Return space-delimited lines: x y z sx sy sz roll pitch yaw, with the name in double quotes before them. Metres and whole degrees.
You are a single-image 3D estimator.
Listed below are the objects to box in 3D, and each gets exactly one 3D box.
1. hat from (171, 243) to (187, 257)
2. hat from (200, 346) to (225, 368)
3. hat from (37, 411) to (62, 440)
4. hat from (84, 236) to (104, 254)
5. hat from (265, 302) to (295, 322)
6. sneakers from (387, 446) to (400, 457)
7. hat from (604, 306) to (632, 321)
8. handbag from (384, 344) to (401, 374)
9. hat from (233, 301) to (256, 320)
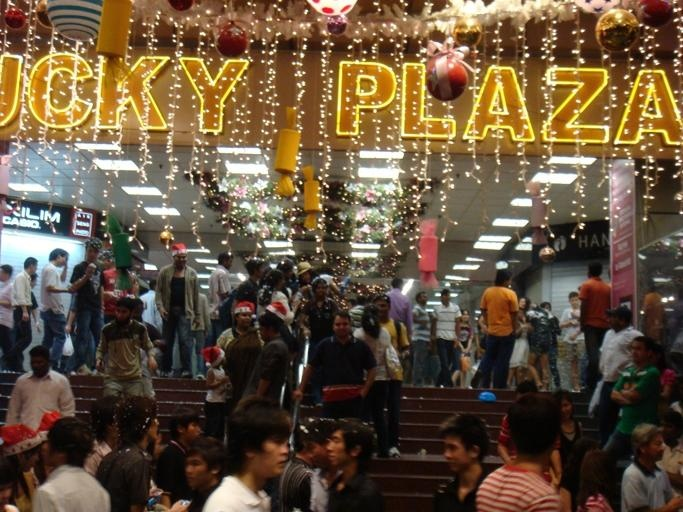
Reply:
"hat" -2.617 -0.097 12.616 0.213 0.177 0.319 0 -4 -9
"hat" -1.668 1.296 10.167 0.291 0.235 0.290 2 -3 -9
"hat" -2.817 1.631 7.566 0.172 0.276 0.522 3 -3 -21
"hat" -4.582 -0.185 14.533 0.288 0.386 0.366 -2 13 -8
"hat" -0.802 0.735 10.240 0.226 0.192 0.346 17 -24 51
"sneakers" 0.668 2.589 10.426 0.168 0.135 0.300 1 -3 1
"hat" 3.761 0.783 10.817 0.291 0.186 0.415 0 -3 24
"handbag" 0.645 1.391 10.507 0.189 0.365 0.128 -12 15 -12
"hat" -1.260 0.689 10.117 0.290 0.248 0.214 5 -4 -10
